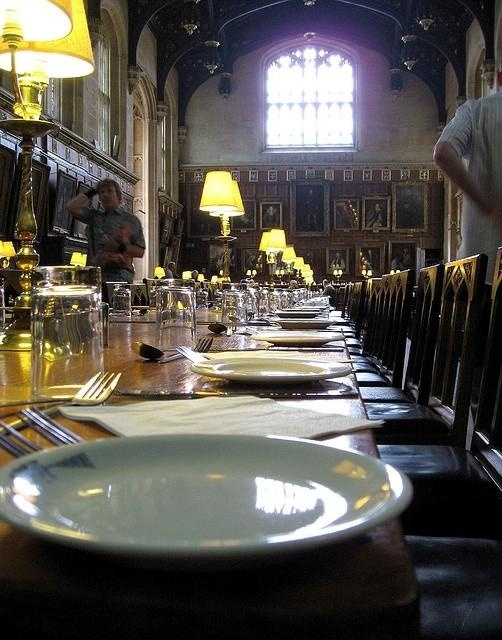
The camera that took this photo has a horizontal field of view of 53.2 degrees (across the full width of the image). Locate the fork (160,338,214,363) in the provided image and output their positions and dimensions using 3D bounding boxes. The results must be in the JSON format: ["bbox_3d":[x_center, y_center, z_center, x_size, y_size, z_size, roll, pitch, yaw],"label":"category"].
[{"bbox_3d":[-0.162,0.077,1.363,0.040,0.042,0.302,35,7,10],"label":"fork"}]

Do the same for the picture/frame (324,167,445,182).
[{"bbox_3d":[4.871,-5.309,18.312,4.101,0.531,0.180,2,6,5],"label":"picture/frame"}]

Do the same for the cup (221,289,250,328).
[{"bbox_3d":[-0.071,-0.051,2.192,0.152,0.227,0.146,1,-4,0],"label":"cup"}]

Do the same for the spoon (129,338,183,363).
[{"bbox_3d":[-0.220,0.078,1.221,0.046,0.026,0.147,28,1,22],"label":"spoon"}]

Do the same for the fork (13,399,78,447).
[{"bbox_3d":[-0.205,0.110,0.514,0.036,0.013,0.151,-11,10,-31],"label":"fork"}]

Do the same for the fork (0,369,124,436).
[{"bbox_3d":[-0.231,0.095,0.675,0.041,0.041,0.307,3,5,36],"label":"fork"}]
